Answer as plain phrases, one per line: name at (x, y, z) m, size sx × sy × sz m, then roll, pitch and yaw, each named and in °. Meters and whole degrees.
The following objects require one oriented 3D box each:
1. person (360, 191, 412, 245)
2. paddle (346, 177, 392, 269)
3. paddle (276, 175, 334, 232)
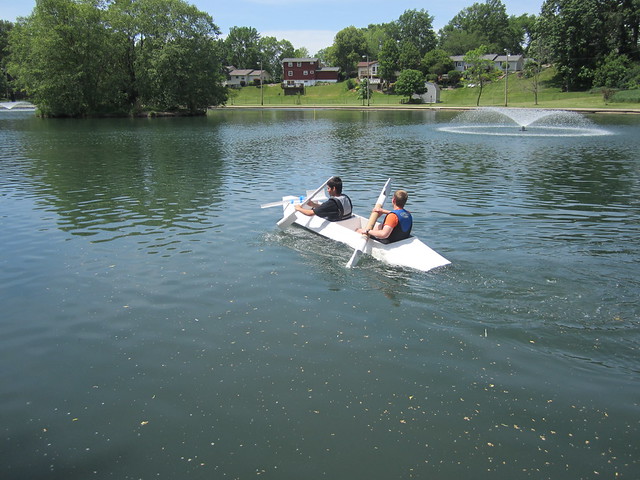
person at (1.802, -0.621, 14.548) m, size 1.063 × 1.447 × 0.679 m, roll 12°, pitch 20°, yaw 28°
paddle at (1.243, -0.459, 14.779) m, size 0.117 × 1.872 × 0.202 m, roll -49°, pitch 22°, yaw -17°
paddle at (-0.653, -0.961, 17.281) m, size 2.847 × 0.788 × 0.212 m, roll -43°, pitch 45°, yaw -12°
